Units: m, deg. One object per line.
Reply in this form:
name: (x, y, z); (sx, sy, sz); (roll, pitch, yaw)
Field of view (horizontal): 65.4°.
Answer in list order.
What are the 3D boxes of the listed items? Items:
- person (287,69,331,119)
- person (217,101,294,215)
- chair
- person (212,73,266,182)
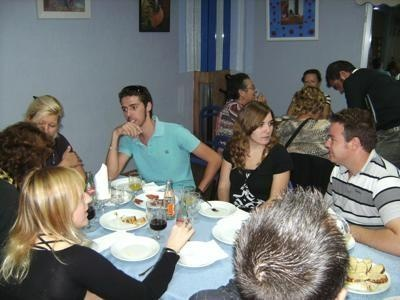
person: (1.628, -0.671, 4.699); (0.533, 1.092, 0.564); (10, 10, 38)
person: (0.372, 0.129, 2.323); (0.551, 0.882, 0.552); (18, 23, 33)
chair: (0.190, -0.237, 4.895); (0.390, 0.413, 0.880); (-10, -28, 2)
person: (0.534, -0.315, 4.062); (0.597, 1.337, 0.451); (4, 32, 8)
